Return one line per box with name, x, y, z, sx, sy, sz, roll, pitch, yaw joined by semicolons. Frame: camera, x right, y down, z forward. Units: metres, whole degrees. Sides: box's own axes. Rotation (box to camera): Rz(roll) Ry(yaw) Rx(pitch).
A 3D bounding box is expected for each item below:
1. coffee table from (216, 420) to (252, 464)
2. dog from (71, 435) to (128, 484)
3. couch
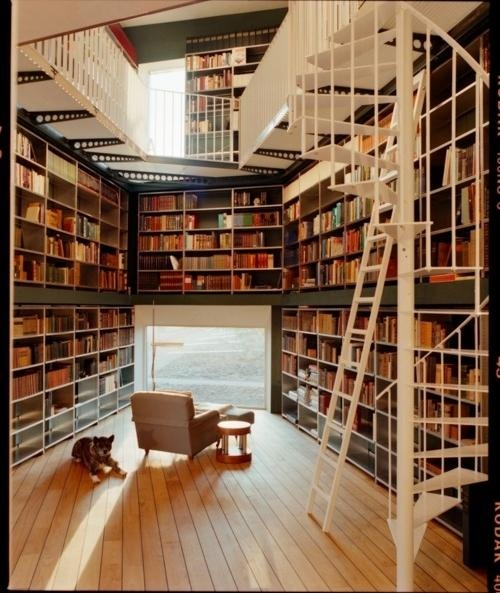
coffee table;-0.194;1.685;5.710;0.333;0.468;0.386;-2;5;-7
dog;-1.685;1.665;5.277;0.359;0.449;0.845;2;-1;-44
couch;-0.904;1.471;5.896;0.808;0.858;0.867;0;1;29
